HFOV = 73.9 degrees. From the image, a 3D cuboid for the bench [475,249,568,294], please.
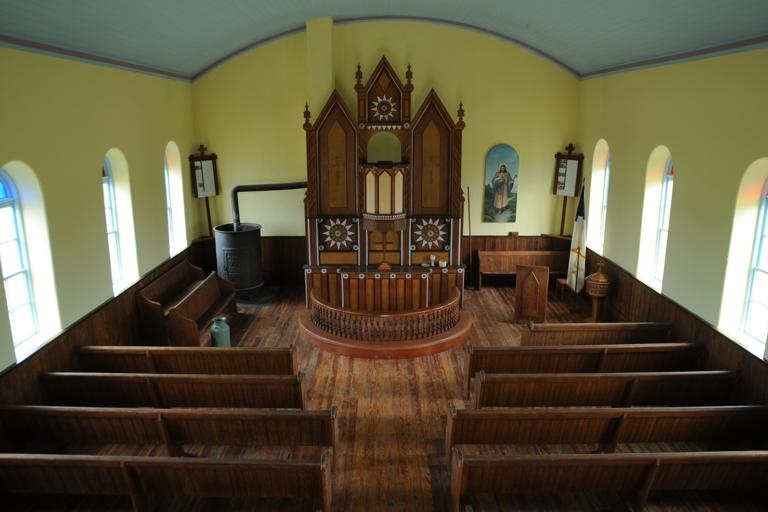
[{"bbox_3d":[3.905,0.342,14.381,2.530,1.043,0.548,-2,3,16],"label":"bench"}]
